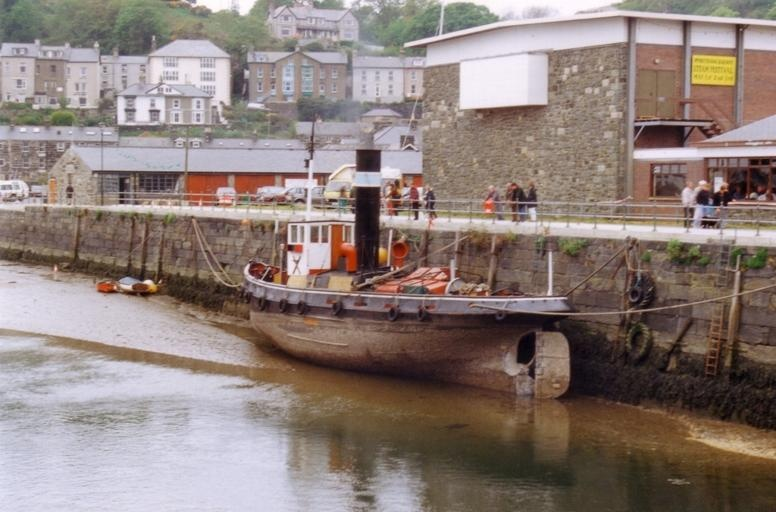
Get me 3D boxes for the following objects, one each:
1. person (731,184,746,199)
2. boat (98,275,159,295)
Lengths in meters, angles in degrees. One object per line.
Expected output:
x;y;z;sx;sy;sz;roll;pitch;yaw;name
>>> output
16.113;-2.925;64.954;0.575;0.682;0.271;0;-8;22;person
-12.818;1.536;69.565;3.058;0.739;2.001;2;4;10;boat
